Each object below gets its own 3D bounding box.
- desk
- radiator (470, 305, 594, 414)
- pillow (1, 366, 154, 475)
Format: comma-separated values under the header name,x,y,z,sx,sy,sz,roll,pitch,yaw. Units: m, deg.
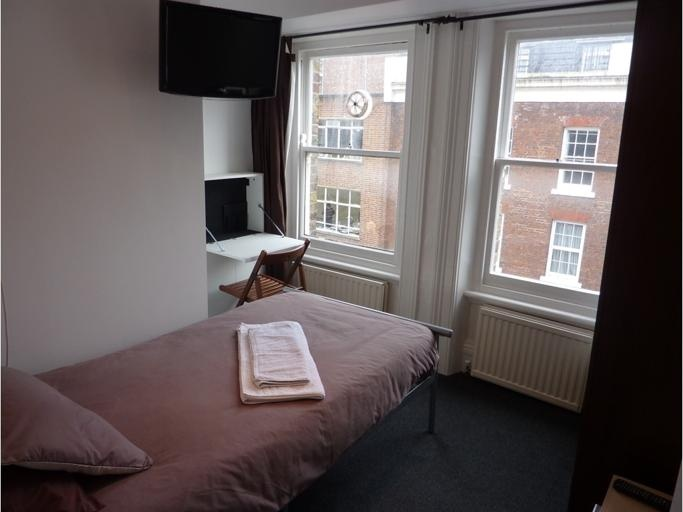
name,x,y,z,sx,sy,sz,roll,pitch,yaw
desk,-0.757,-0.213,4.173,0.724,0.542,0.815,13,20,33
radiator,1.321,0.701,3.398,0.585,0.480,0.068,18,18,30
pillow,-0.988,0.624,1.882,0.459,0.313,0.358,-5,16,-30
